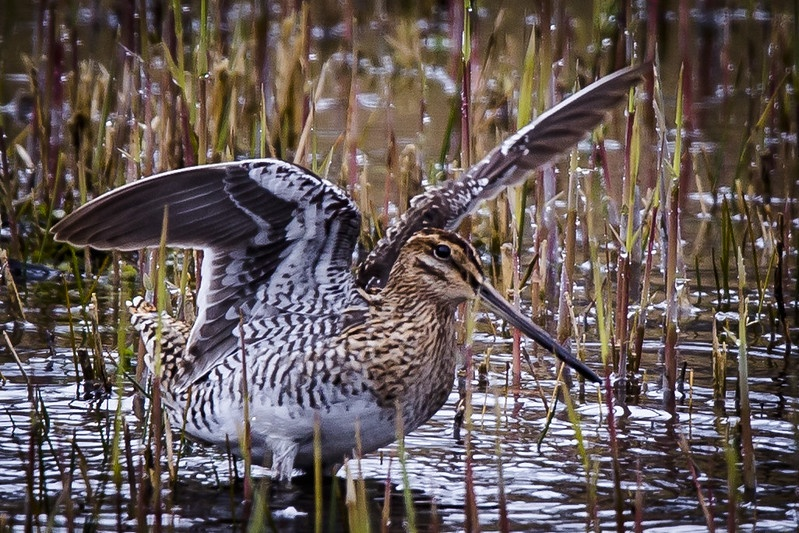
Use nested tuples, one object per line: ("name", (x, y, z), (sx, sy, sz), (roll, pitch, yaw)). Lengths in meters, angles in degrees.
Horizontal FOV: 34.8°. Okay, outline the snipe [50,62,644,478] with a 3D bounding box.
("snipe", (-0.391, -0.044, 6.677), (2.722, 2.277, 1.013), (8, -15, -14))
